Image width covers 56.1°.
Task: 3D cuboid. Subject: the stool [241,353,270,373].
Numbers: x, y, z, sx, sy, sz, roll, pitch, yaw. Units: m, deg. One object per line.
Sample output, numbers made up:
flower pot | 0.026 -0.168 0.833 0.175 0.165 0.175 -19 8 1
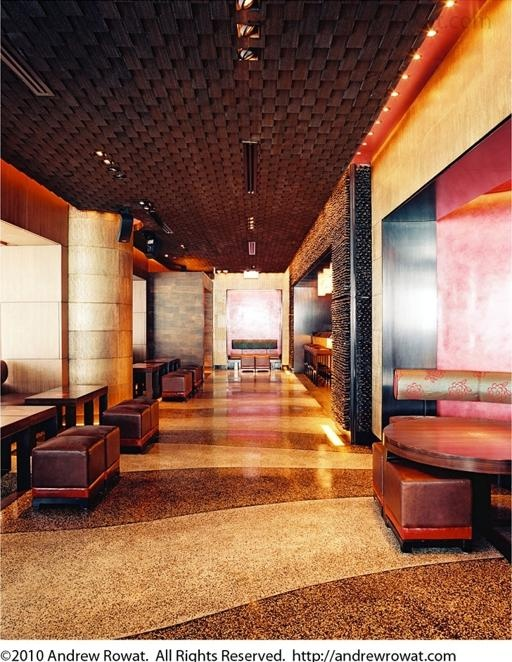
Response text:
stool | -0.049 0.879 13.383 0.571 0.370 0.619 1 -1 10

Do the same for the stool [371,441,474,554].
stool | 1.069 1.046 3.098 0.457 0.506 0.593 -1 1 -2
